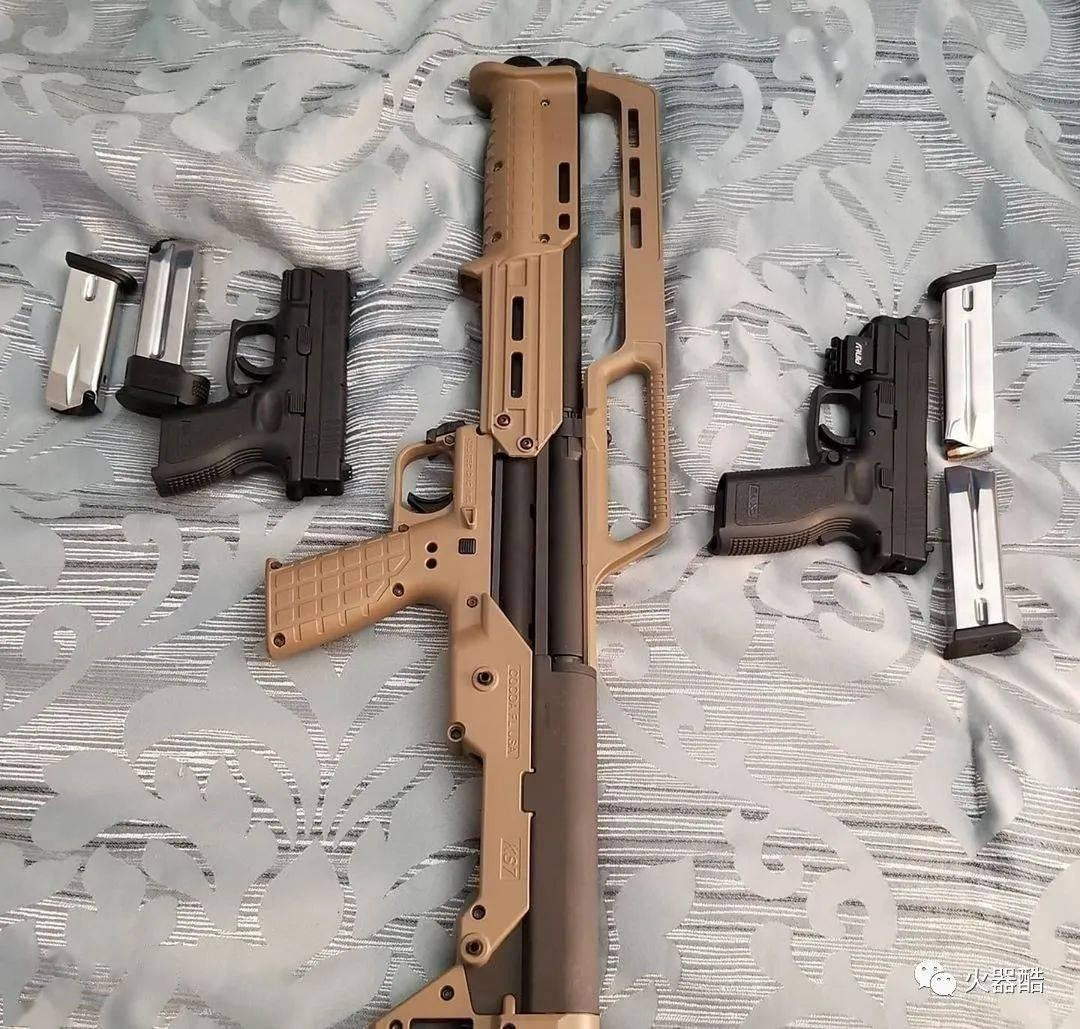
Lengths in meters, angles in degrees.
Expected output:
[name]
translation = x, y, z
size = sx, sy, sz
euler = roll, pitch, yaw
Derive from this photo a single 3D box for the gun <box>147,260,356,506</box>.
[gun]
translation = -0.498, -0.217, 2.388
size = 0.380, 0.111, 0.587
euler = 2, 57, -7
